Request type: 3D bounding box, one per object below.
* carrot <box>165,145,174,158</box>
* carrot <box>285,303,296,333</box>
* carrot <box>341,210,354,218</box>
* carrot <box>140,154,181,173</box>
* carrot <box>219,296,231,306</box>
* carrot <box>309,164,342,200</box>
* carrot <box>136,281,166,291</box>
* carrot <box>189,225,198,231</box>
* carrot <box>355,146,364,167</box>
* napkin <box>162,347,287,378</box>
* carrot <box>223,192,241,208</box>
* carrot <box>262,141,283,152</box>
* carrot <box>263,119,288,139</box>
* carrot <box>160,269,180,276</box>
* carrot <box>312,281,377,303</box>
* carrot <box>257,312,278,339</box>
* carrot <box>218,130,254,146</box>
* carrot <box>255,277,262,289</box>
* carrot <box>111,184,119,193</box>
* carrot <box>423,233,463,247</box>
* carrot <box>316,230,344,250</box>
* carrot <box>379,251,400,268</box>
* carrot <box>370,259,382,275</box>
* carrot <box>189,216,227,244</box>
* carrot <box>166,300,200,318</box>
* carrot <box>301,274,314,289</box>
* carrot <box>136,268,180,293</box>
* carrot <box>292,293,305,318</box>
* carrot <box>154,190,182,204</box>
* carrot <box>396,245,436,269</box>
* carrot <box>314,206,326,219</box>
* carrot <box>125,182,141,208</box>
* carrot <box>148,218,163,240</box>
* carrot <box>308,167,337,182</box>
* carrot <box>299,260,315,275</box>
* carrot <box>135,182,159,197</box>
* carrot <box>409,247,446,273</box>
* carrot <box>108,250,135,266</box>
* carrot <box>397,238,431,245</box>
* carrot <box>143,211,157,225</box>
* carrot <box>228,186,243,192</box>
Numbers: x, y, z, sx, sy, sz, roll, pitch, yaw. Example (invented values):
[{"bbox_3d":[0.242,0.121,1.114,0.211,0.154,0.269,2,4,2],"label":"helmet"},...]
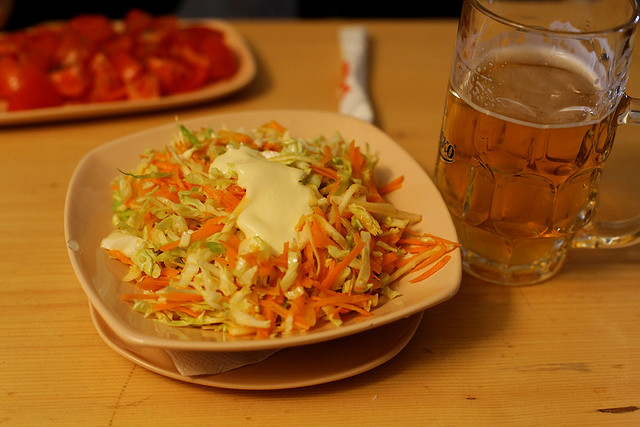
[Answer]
[{"bbox_3d":[-0.432,-0.187,1.603,0.017,0.012,0.068,-15,42,-4],"label":"carrot"},{"bbox_3d":[-0.072,0.247,1.310,0.014,0.016,0.060,22,68,-10],"label":"carrot"},{"bbox_3d":[0.069,0.003,1.474,0.033,0.018,0.010,-18,48,-13],"label":"carrot"},{"bbox_3d":[-0.432,-0.136,1.566,0.117,0.023,0.029,26,53,27],"label":"carrot"},{"bbox_3d":[-0.235,0.208,1.331,0.025,0.006,0.021,1,41,3],"label":"carrot"},{"bbox_3d":[0.009,-0.083,1.509,0.106,0.012,0.097,5,86,-11],"label":"carrot"},{"bbox_3d":[-0.426,0.179,1.386,0.043,0.009,0.032,0,14,-27],"label":"carrot"},{"bbox_3d":[-0.331,0.035,1.459,0.015,0.014,0.015,19,33,27],"label":"carrot"},{"bbox_3d":[0.110,-0.173,1.660,0.033,0.049,0.012,-5,3,-31],"label":"carrot"},{"bbox_3d":[-0.242,0.323,1.337,0.254,0.036,0.249,-2,2,-27],"label":"napkin"},{"bbox_3d":[-0.227,-0.035,1.425,0.042,0.011,0.023,43,68,12],"label":"carrot"},{"bbox_3d":[-0.139,-0.196,1.629,0.039,0.009,0.037,-14,26,-36],"label":"carrot"},{"bbox_3d":[-0.137,-0.267,1.739,0.070,0.022,0.072,39,48,13],"label":"carrot"},{"bbox_3d":[-0.381,0.148,1.411,0.023,0.005,0.023,21,33,26],"label":"carrot"},{"bbox_3d":[0.054,0.194,1.348,0.148,0.051,0.035,2,47,6],"label":"carrot"},{"bbox_3d":[-0.124,0.265,1.317,0.030,0.023,0.075,20,49,23],"label":"carrot"},{"bbox_3d":[-0.251,-0.230,1.658,0.120,0.020,0.042,17,48,20],"label":"carrot"},{"bbox_3d":[-0.150,0.170,1.353,0.005,0.015,0.020,12,91,25],"label":"carrot"},{"bbox_3d":[-0.590,-0.075,1.606,0.018,0.016,0.023,6,13,7],"label":"carrot"},{"bbox_3d":[0.310,0.069,1.435,0.107,0.027,0.015,25,35,37],"label":"carrot"},{"bbox_3d":[0.027,0.074,1.415,0.084,0.018,0.021,38,40,-26],"label":"carrot"},{"bbox_3d":[0.176,0.115,1.445,0.018,0.018,0.068,47,53,9],"label":"carrot"},{"bbox_3d":[0.136,0.134,1.412,0.014,0.016,0.055,-9,51,-25],"label":"carrot"},{"bbox_3d":[-0.287,0.038,1.410,0.102,0.044,0.035,-17,47,-13],"label":"carrot"},{"bbox_3d":[-0.330,0.227,1.344,0.072,0.016,0.011,25,38,4],"label":"carrot"},{"bbox_3d":[-0.032,0.164,1.351,0.022,0.011,0.028,-15,59,-40],"label":"carrot"},{"bbox_3d":[-0.410,0.162,1.394,0.065,0.025,0.074,3,25,32],"label":"carrot"},{"bbox_3d":[-0.045,0.218,1.330,0.037,0.013,0.050,14,67,26],"label":"carrot"},{"bbox_3d":[-0.405,-0.047,1.495,0.080,0.017,0.025,14,48,18],"label":"carrot"},{"bbox_3d":[0.249,0.114,1.454,0.097,0.014,0.018,-29,54,-10],"label":"carrot"},{"bbox_3d":[-0.003,-0.003,1.415,0.020,0.009,0.029,-36,89,-33],"label":"carrot"},{"bbox_3d":[-0.523,-0.052,1.568,0.021,0.065,0.051,8,6,-8],"label":"carrot"},{"bbox_3d":[-0.443,0.036,1.482,0.050,0.012,0.046,-39,55,18],"label":"carrot"},{"bbox_3d":[0.008,-0.110,1.525,0.097,0.025,0.016,21,50,1],"label":"carrot"},{"bbox_3d":[-0.036,0.132,1.362,0.019,0.019,0.045,33,55,31],"label":"carrot"},{"bbox_3d":[-0.491,-0.069,1.555,0.043,0.018,0.046,0,27,-5],"label":"carrot"},{"bbox_3d":[0.281,0.116,1.429,0.113,0.028,0.028,-37,40,15],"label":"carrot"},{"bbox_3d":[-0.507,0.115,1.431,0.058,0.015,0.014,31,89,1],"label":"carrot"},{"bbox_3d":[0.250,0.074,1.491,0.058,0.013,0.007,5,86,23],"label":"carrot"},{"bbox_3d":[-0.457,0.011,1.489,0.028,0.012,0.028,1,89,-2],"label":"carrot"},{"bbox_3d":[-0.217,-0.066,1.437,0.038,0.008,0.015,3,45,7],"label":"carrot"}]
